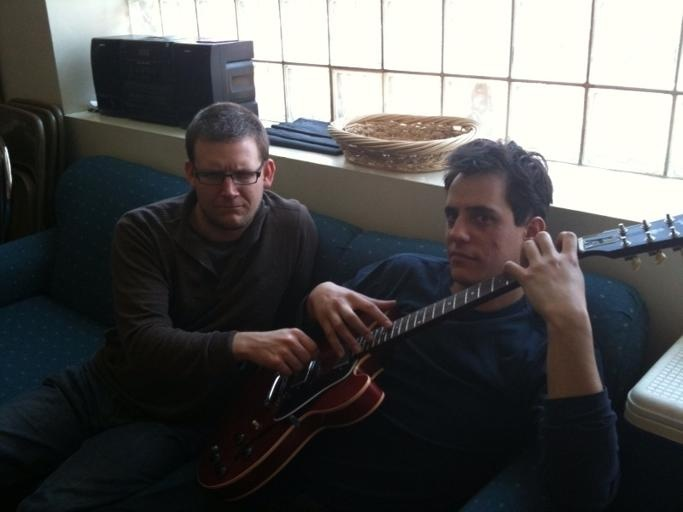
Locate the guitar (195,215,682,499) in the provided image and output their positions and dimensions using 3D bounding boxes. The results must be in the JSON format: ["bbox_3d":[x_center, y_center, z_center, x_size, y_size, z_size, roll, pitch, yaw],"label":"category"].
[{"bbox_3d":[-0.014,0.343,1.618,0.764,0.702,0.329,5,14,-3],"label":"guitar"}]

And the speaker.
[{"bbox_3d":[-0.639,-0.956,2.952,0.430,0.552,0.406,26,37,33],"label":"speaker"}]
